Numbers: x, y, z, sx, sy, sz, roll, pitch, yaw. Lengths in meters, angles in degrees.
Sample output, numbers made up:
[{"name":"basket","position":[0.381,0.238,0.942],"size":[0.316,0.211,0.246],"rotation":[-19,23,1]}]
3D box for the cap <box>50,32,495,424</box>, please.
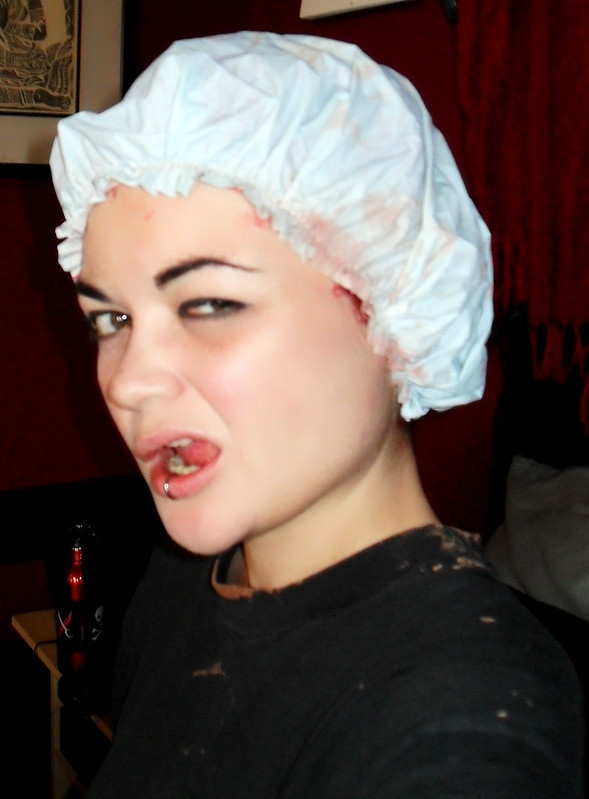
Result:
[{"name":"cap","position":[0.024,-0.186,0.804],"size":[0.379,0.399,0.166],"rotation":[-3,33,28]}]
